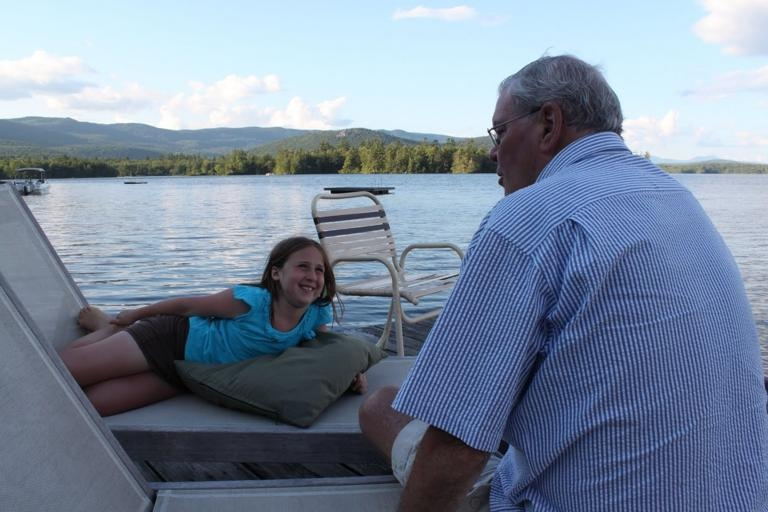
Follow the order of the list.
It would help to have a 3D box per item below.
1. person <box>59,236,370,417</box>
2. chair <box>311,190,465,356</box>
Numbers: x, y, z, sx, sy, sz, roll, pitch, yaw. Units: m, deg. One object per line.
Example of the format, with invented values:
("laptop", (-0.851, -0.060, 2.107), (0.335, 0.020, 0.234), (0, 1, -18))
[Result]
("person", (-0.811, 0.294, 2.873), (1.162, 0.540, 0.766), (-2, 5, -1))
("chair", (0.091, 0.165, 4.913), (1.094, 1.319, 1.014), (-8, 9, -32))
